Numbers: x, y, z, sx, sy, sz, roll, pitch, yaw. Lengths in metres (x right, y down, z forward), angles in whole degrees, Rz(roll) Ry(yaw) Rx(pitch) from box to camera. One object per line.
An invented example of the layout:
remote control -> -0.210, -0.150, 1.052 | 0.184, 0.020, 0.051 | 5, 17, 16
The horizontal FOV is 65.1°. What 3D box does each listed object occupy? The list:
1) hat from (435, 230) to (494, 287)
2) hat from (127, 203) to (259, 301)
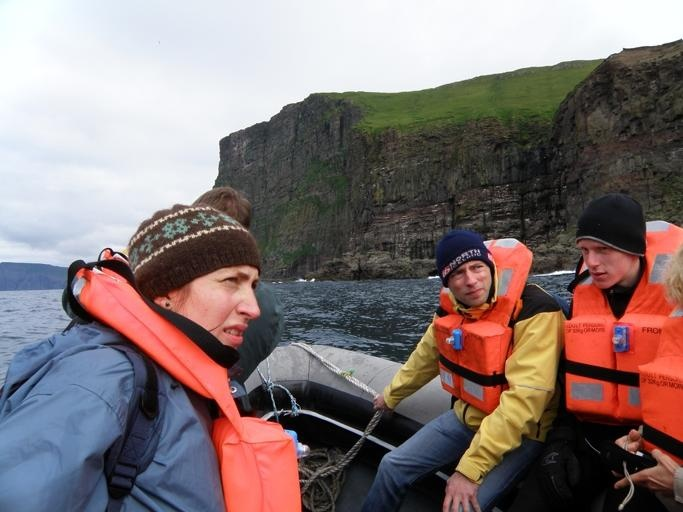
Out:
hat -> 0.769, -0.019, 3.668 | 0.289, 0.347, 0.394 | -20, 17, -11
hat -> -0.596, -0.030, 2.378 | 0.531, 0.419, 0.515 | -6, -7, -28
